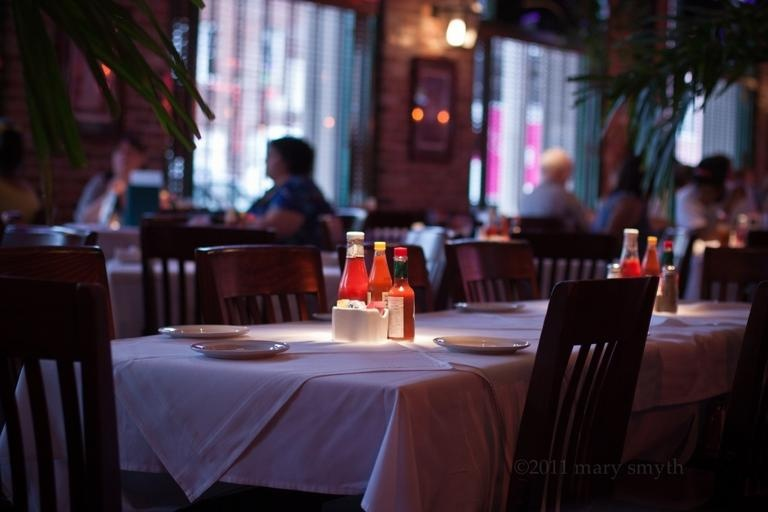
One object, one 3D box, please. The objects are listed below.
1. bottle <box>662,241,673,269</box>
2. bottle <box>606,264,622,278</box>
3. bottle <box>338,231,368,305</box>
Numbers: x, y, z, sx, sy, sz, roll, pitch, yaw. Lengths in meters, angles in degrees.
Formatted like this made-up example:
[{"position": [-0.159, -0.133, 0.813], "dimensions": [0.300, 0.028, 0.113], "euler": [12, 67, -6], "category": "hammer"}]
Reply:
[{"position": [0.992, 0.000, 2.427], "dimensions": [0.037, 0.103, 0.140], "euler": [2, 5, 22], "category": "bottle"}, {"position": [0.790, 0.054, 2.378], "dimensions": [0.043, 0.082, 0.044], "euler": [0, 11, 0], "category": "bottle"}, {"position": [-0.083, 0.032, 1.852], "dimensions": [0.079, 0.192, 0.207], "euler": [0, 5, -2], "category": "bottle"}]
